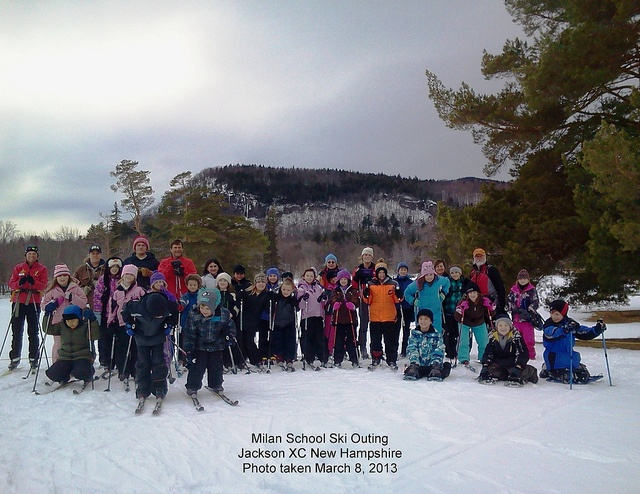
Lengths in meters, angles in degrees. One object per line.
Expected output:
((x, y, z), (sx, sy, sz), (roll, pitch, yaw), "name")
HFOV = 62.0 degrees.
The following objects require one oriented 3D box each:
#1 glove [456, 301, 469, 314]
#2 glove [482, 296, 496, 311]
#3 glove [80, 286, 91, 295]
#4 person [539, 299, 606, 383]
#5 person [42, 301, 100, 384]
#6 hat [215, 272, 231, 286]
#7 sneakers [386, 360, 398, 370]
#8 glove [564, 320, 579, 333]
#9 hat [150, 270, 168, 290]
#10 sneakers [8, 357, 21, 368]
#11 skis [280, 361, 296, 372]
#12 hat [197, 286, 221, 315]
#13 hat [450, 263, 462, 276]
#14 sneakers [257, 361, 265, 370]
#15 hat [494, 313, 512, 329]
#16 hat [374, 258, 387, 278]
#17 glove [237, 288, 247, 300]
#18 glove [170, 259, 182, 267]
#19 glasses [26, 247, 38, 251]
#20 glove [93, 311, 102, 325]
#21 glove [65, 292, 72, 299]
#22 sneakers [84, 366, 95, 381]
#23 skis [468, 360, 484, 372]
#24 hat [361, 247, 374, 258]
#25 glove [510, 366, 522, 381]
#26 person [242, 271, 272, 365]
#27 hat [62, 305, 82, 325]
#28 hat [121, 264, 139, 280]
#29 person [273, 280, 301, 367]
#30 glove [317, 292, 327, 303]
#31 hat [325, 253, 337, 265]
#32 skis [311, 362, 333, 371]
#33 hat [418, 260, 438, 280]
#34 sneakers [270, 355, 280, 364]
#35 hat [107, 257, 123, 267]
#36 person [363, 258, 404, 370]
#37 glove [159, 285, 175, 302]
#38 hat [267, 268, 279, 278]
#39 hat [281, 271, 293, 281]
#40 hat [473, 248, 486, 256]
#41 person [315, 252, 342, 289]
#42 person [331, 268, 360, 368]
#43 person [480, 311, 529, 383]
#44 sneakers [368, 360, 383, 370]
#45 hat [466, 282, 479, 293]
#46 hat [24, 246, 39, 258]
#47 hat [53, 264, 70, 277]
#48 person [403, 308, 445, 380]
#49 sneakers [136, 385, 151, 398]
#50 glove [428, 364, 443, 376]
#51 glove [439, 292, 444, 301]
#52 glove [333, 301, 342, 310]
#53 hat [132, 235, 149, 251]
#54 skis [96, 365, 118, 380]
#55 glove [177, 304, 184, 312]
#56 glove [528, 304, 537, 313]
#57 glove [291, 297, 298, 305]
((2.982, 1.251, 11.129), (0.280, 0.263, 0.139), (-4, 10, -25), "glove")
((3.502, 1.173, 11.108), (0.178, 0.173, 0.428), (3, 11, -5), "glove")
((-4.598, 0.838, 10.506), (0.144, 0.222, 0.053), (11, 3, 27), "glove")
((4.777, 1.863, 10.166), (1.000, 1.472, 0.875), (4, 10, 25), "person")
((-4.519, 1.788, 9.636), (0.930, 1.392, 0.679), (-1, 9, -6), "person")
((-1.966, 0.636, 10.924), (0.184, 0.223, 0.267), (3, 2, -2), "hat")
((1.502, 2.445, 11.052), (0.158, 0.087, 0.239), (9, -7, -6), "sneakers")
((4.812, 1.501, 10.203), (0.252, 0.200, 0.292), (9, 13, 43), "glove")
((-2.957, 0.579, 9.795), (0.263, 0.337, 0.323), (-1, -30, -24), "hat")
((-6.075, 2.313, 10.579), (0.209, 0.225, 0.279), (-6, 11, -33), "sneakers")
((-0.670, 2.499, 11.154), (0.244, 0.127, 0.451), (-2, 10, -16), "skis")
((-1.928, 0.926, 9.339), (0.297, 0.416, 0.422), (6, 13, 2), "hat")
((3.039, 0.503, 11.973), (0.160, 0.236, 0.130), (-7, -1, 7), "hat")
((-1.220, 2.457, 11.039), (0.095, 0.150, 0.137), (10, -21, -15), "sneakers")
((3.595, 1.447, 10.446), (0.359, 0.318, 0.384), (2, -9, 17), "hat")
((1.342, 0.424, 11.788), (0.243, 0.150, 0.346), (-3, 33, 1), "hat")
((-1.666, 1.000, 11.352), (0.139, 0.220, 0.063), (6, -23, -11), "glove")
((-2.949, 0.321, 10.989), (0.261, 0.122, 0.166), (-6, 12, -34), "glove")
((-6.117, 0.025, 11.312), (0.112, 0.078, 0.120), (-1, -2, 13), "glasses")
((-4.214, 1.329, 10.140), (0.062, 0.252, 0.170), (-14, 20, -37), "glove")
((-4.781, 0.912, 10.118), (0.104, 0.153, 0.020), (-6, -15, -36), "glove")
((-4.128, 2.307, 9.538), (0.168, 0.259, 0.342), (-4, 10, -25), "sneakers")
((3.272, 2.488, 11.238), (0.123, 0.156, 0.993), (-7, -6, 5), "skis")
((1.111, 0.071, 12.428), (0.212, 0.264, 0.315), (5, -17, 1), "hat")
((3.670, 2.381, 9.979), (0.176, 0.262, 0.242), (-1, -3, 25), "glove")
((-1.373, 1.585, 11.413), (0.550, 1.875, 0.768), (4, 9, 22), "person")
((-4.498, 1.207, 9.672), (0.214, 0.273, 0.321), (-5, 0, -10), "hat")
((-3.449, 0.453, 9.694), (0.204, 0.209, 0.244), (10, -12, -35), "hat")
((-0.759, 1.588, 11.336), (0.500, 1.789, 0.729), (1, 9, 8), "person")
((0.055, 1.063, 11.402), (0.192, 0.215, 0.326), (-2, 10, -12), "glove")
((0.253, 0.275, 12.318), (0.241, 0.312, 0.362), (1, -39, 1), "hat")
((0.020, 2.546, 11.360), (0.257, 0.101, 0.204), (-1, -2, 21), "skis")
((2.315, 0.461, 11.449), (0.347, 0.375, 0.519), (2, 10, 11), "hat")
((-0.969, 2.426, 11.445), (0.175, 0.057, 0.135), (35, -24, -14), "sneakers")
((-3.917, 0.272, 10.222), (0.157, 0.134, 0.213), (0, 0, -6), "hat")
((1.342, 1.495, 11.323), (0.802, 2.110, 0.983), (-5, 10, -29), "person")
((-2.785, 0.843, 9.660), (0.313, 0.100, 0.108), (17, -22, 49), "glove")
((-1.065, 0.567, 12.070), (0.213, 0.220, 0.256), (0, -10, -4), "hat")
((-0.714, 0.621, 11.489), (0.169, 0.174, 0.214), (-2, 1, 2), "hat")
((3.632, 0.095, 12.131), (0.219, 0.178, 0.337), (-2, -16, 20), "hat")
((0.226, 0.725, 12.214), (0.687, 1.156, 0.333), (-2, 0, -17), "person")
((0.529, 1.543, 11.403), (0.605, 1.983, 0.626), (0, 9, 1), "person")
((3.546, 1.942, 10.205), (0.960, 1.421, 1.115), (-4, -14, 21), "person")
((1.133, 2.467, 11.132), (0.107, 0.154, 0.334), (-7, -5, 31), "sneakers")
((3.214, 0.847, 11.209), (0.274, 0.203, 0.352), (3, 10, 18), "hat")
((-5.959, 0.089, 10.993), (0.265, 0.231, 0.250), (-6, -3, 40), "hat")
((-5.002, 0.437, 10.219), (0.318, 0.327, 0.253), (-1, 2, -4), "hat")
((2.031, 1.899, 10.448), (0.830, 1.190, 0.990), (-1, 9, -8), "person")
((-2.910, 2.379, 8.782), (0.206, 0.177, 0.315), (-2, 3, -3), "sneakers")
((2.221, 2.381, 10.199), (0.243, 0.200, 0.263), (2, 10, 12), "glove")
((2.650, 1.069, 11.573), (0.107, 0.162, 0.053), (5, 0, -38), "glove")
((0.357, 1.231, 11.244), (0.158, 0.179, 0.072), (0, 9, 0), "glove")
((-3.567, -0.076, 10.632), (0.289, 0.406, 0.232), (-3, 30, -12), "hat")
((-3.986, 2.360, 10.017), (0.172, 0.241, 0.541), (0, -20, -7), "skis")
((-2.587, 1.128, 9.872), (0.119, 0.133, 0.091), (0, 8, -9), "glove")
((4.609, 1.335, 11.535), (0.120, 0.143, 0.163), (-31, 23, 15), "glove")
((-0.550, 1.149, 11.376), (0.129, 0.140, 0.031), (3, -11, -42), "glove")
